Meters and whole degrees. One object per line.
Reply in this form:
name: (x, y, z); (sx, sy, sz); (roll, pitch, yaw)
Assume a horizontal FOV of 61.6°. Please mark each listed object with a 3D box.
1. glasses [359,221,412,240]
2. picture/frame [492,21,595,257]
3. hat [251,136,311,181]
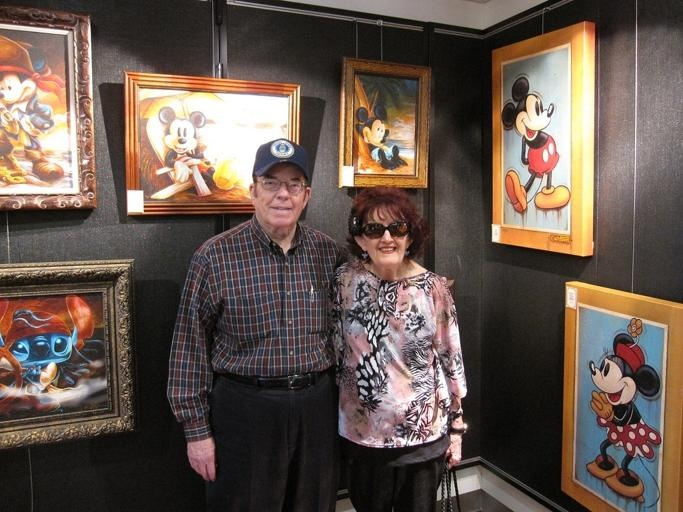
glasses: (0.232, -0.129, 2.894); (0.237, 0.086, 0.094); (0, 12, 1)
picture/frame: (1.274, -0.709, 3.551); (0.217, 1.310, 0.771); (-6, 13, -24)
hat: (-0.307, -0.432, 2.944); (0.229, 0.177, 0.403); (2, 46, -15)
